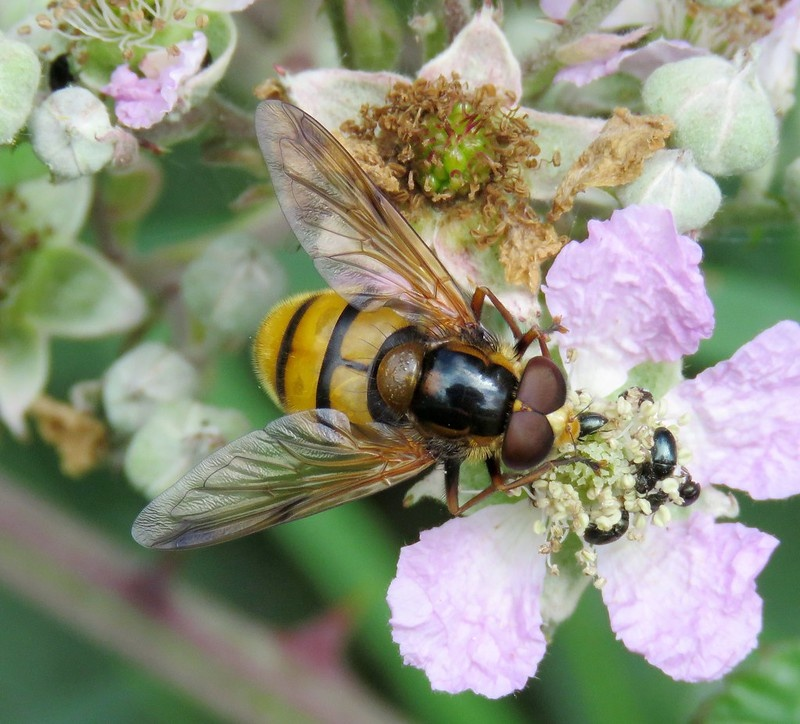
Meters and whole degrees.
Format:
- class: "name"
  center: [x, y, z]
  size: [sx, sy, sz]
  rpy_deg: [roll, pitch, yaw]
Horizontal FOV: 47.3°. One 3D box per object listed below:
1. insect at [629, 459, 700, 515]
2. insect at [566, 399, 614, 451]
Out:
- class: "insect"
  center: [0.367, 0.173, 1.244]
  size: [0.099, 0.074, 0.065]
  rpy_deg: [3, 79, 6]
- class: "insect"
  center: [0.249, 0.080, 1.243]
  size: [0.064, 0.023, 0.075]
  rpy_deg: [3, 60, -4]
